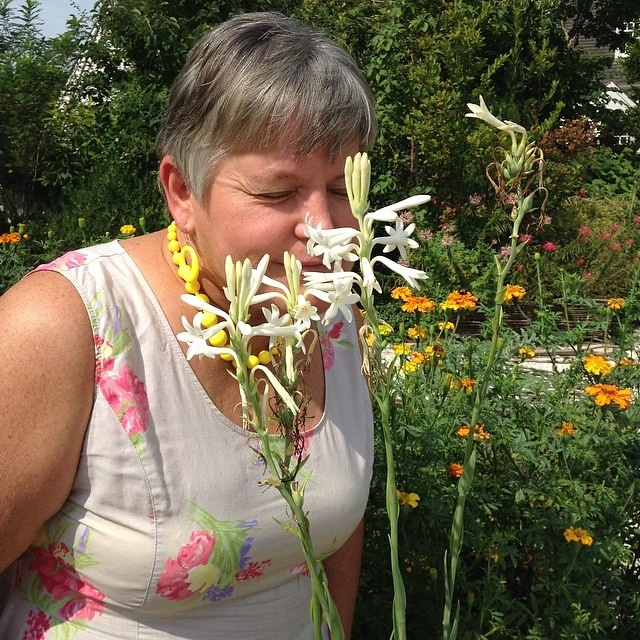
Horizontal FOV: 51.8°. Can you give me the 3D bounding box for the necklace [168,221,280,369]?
[{"bbox_3d":[-0.261,-0.059,1.453,0.079,0.358,0.255,-38,-28,5],"label":"necklace"}]
